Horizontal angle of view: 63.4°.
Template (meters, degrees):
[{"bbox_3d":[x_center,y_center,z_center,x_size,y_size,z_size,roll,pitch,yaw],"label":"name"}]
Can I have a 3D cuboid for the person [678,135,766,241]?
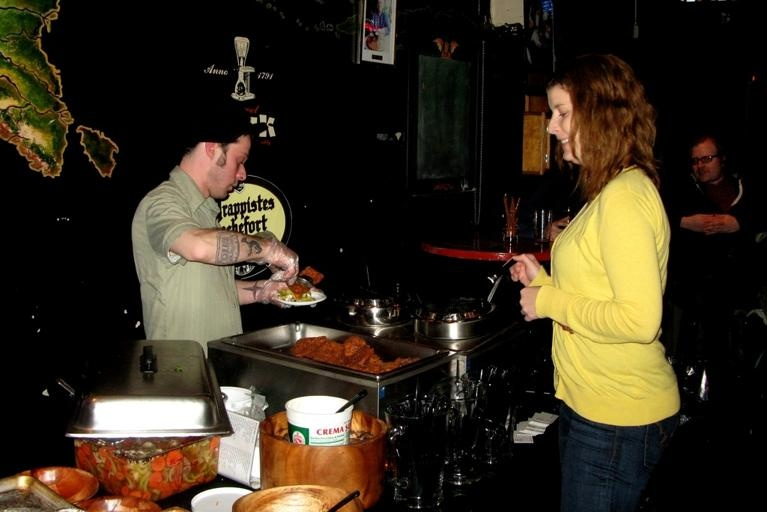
[{"bbox_3d":[3.089,-0.628,5.636,0.681,0.882,0.412,4,11,25],"label":"person"}]

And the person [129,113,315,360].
[{"bbox_3d":[-0.932,-0.098,3.326,0.766,1.281,0.609,-4,11,-21],"label":"person"}]
